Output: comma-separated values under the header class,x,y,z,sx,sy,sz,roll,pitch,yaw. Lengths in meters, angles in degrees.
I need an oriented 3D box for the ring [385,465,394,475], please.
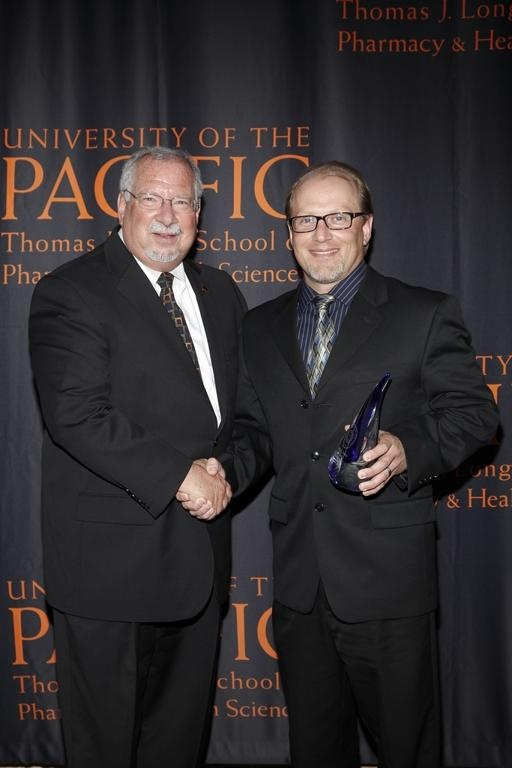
class,x,y,z,sx,sy,sz,roll,pitch,yaw
ring,0.299,0.194,1.403,0.009,0.027,0.010,4,7,0
